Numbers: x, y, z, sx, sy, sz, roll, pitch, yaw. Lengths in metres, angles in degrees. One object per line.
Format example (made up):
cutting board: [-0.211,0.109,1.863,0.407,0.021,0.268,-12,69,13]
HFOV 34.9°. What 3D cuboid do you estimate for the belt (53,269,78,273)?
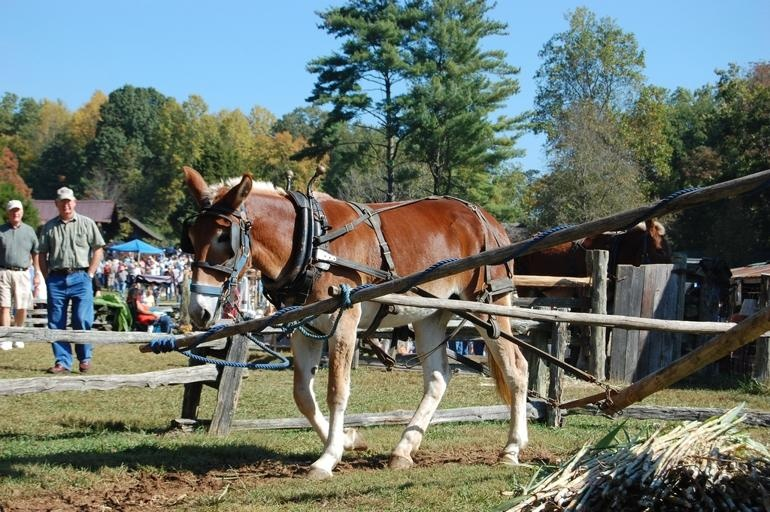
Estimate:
belt: [-9.750,0.465,37.240,0.693,0.122,0.132,0,-2,6]

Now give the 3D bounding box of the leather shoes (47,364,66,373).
leather shoes: [-9.987,3.482,37.177,0.515,0.237,0.204,-2,15,19]

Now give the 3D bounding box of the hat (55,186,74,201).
hat: [-9.772,-1.915,37.342,0.451,0.277,0.581,2,-7,-14]

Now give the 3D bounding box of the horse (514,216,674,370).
horse: [7.074,1.121,41.566,1.611,3.680,6.465,13,-21,-42]
